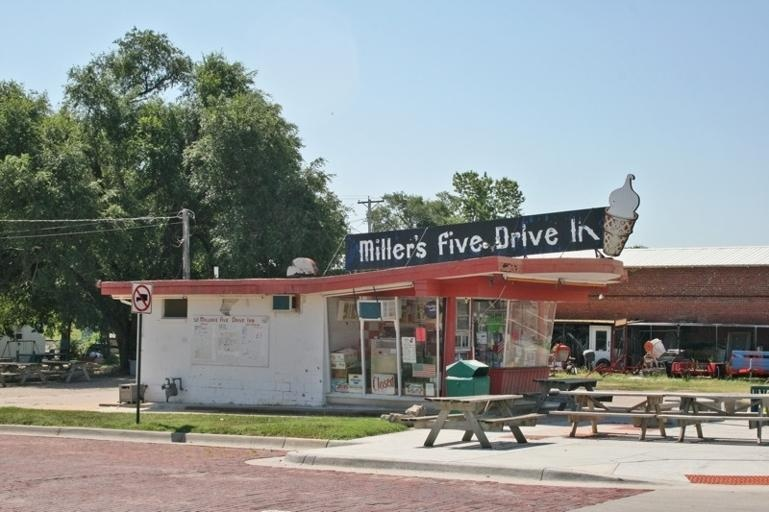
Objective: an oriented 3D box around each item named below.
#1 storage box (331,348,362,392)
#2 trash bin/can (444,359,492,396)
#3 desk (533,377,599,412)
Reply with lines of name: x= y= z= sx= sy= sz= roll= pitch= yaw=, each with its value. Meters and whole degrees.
storage box: x=-1.614 y=4.349 z=43.944 sx=1.571 sy=1.464 sz=1.473 roll=1 pitch=15 yaw=5
trash bin/can: x=2.912 y=4.353 z=39.695 sx=1.181 sy=1.433 sz=1.477 roll=-2 pitch=-5 yaw=34
desk: x=6.444 y=5.158 z=41.326 sx=1.878 sy=1.475 sz=2.732 roll=-5 pitch=0 yaw=-12
